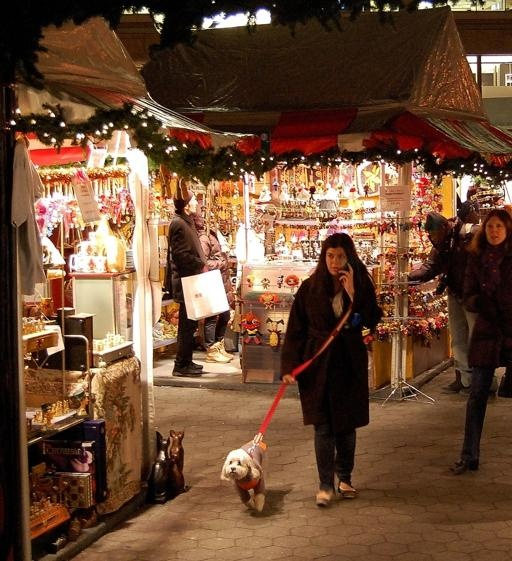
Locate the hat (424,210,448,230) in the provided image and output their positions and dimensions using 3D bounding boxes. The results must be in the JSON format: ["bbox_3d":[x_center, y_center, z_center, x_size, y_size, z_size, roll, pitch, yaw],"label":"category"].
[{"bbox_3d":[1.774,-0.588,5.465,0.214,0.203,0.182,-1,1,16],"label":"hat"}]

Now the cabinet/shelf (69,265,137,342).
[{"bbox_3d":[-0.945,0.164,3.623,0.358,0.445,0.325,-3,-7,-27],"label":"cabinet/shelf"}]

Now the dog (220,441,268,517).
[{"bbox_3d":[-0.045,1.074,3.183,0.188,0.239,0.588,-6,-3,5],"label":"dog"}]

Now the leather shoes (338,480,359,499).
[{"bbox_3d":[0.559,1.282,3.404,0.061,0.048,0.163,0,-4,3],"label":"leather shoes"}]

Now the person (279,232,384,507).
[{"bbox_3d":[0.438,0.527,3.245,0.585,1.604,0.238,-1,1,6],"label":"person"}]

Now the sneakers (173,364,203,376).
[{"bbox_3d":[-0.839,1.097,6.912,0.392,0.146,0.130,-2,2,-1],"label":"sneakers"}]

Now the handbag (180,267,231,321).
[{"bbox_3d":[-0.601,0.129,6.331,0.697,0.563,0.235,-17,1,-5],"label":"handbag"}]

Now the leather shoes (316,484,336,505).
[{"bbox_3d":[0.419,1.276,3.314,0.081,0.085,0.232,-3,-20,6],"label":"leather shoes"}]

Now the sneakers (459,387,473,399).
[{"bbox_3d":[2.201,1.172,5.819,0.087,0.090,0.242,0,2,25],"label":"sneakers"}]
